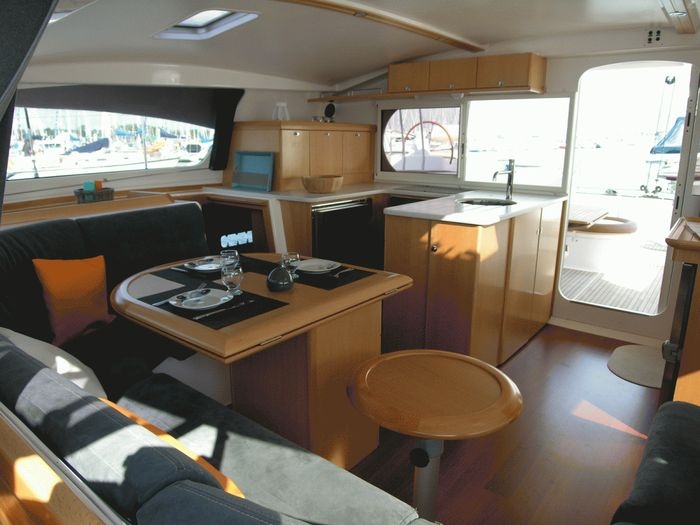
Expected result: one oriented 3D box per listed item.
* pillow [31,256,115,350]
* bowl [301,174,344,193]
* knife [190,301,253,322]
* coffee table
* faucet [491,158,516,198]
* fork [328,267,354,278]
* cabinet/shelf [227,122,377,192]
[{"bbox_3d":[-1.528,0.183,2.853,0.187,0.432,0.413,16,20,29],"label":"pillow"},{"bbox_3d":[-0.219,-0.686,4.447,0.283,0.140,0.377,8,18,30],"label":"bowl"},{"bbox_3d":[-0.554,0.209,2.161,0.021,0.015,0.202,30,33,35],"label":"knife"},{"bbox_3d":[-0.381,0.416,2.641,1.189,0.837,1.191,16,25,39],"label":"coffee table"},{"bbox_3d":[1.288,-0.718,4.266,0.164,0.321,0.696,3,16,17],"label":"faucet"},{"bbox_3d":[-0.049,0.050,2.634,0.039,0.028,0.166,11,15,28],"label":"fork"},{"bbox_3d":[-0.336,-1.045,4.908,1.400,0.636,0.563,-12,19,-33],"label":"cabinet/shelf"}]
